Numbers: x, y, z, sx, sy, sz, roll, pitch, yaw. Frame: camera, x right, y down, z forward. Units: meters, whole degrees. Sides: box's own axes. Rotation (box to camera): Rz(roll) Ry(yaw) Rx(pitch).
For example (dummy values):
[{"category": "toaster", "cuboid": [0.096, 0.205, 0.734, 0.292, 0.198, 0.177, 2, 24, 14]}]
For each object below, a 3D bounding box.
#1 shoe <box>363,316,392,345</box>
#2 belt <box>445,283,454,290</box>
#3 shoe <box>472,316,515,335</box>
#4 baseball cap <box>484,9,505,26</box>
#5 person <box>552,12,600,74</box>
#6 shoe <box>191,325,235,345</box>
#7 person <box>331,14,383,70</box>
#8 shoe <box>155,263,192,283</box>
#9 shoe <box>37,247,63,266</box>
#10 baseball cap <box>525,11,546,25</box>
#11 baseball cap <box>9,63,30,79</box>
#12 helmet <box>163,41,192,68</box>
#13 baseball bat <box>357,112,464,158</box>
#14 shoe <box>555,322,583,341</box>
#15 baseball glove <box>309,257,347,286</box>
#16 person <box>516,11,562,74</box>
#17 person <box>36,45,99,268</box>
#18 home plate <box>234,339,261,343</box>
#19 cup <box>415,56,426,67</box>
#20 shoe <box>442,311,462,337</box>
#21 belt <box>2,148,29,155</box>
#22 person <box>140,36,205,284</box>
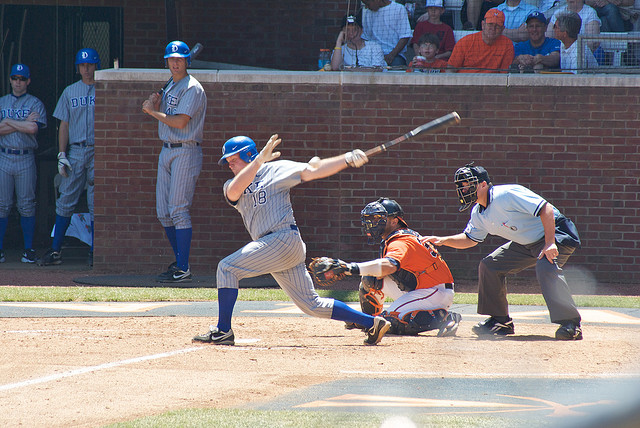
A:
[{"category": "shoe", "cuboid": [0.700, 1.474, 18.218, 0.196, 0.385, 0.146, 44, 35, 20]}, {"category": "belt", "cuboid": [1.663, 0.925, 18.629, 0.077, 0.049, 0.076, -6, 10, -43]}, {"category": "shoe", "cuboid": [2.233, 1.451, 18.802, 0.538, 0.199, 0.209, 2, -1, 1]}, {"category": "baseball cap", "cuboid": [2.686, -3.099, 22.435, 0.278, 0.254, 0.271, 2, 8, 5]}, {"category": "person", "cuboid": [3.960, -2.713, 22.492, 0.669, 0.945, 0.690, 1, 8, 2]}, {"category": "shoe", "cuboid": [-1.252, 1.534, 18.274, 0.599, 0.227, 0.192, 3, -8, 5]}, {"category": "person", "cuboid": [0.542, -2.702, 23.137, 0.956, 0.980, 0.681, 3, -7, -25]}, {"category": "shoe", "cuboid": [-2.086, 0.864, 21.420, 0.518, 0.249, 0.238, 0, 8, -4]}, {"category": "shoe", "cuboid": [-4.081, 0.630, 22.646, 0.176, 0.279, 0.494, 6, 9, 32]}, {"category": "baseball cap", "cuboid": [3.365, -3.148, 22.781, 0.298, 0.200, 0.307, 2, 7, 7]}, {"category": "baseball cap", "cuboid": [-4.562, -2.307, 22.701, 0.247, 0.306, 0.330, 6, 17, -4]}, {"category": "helmet", "cuboid": [-2.035, -2.390, 21.179, 0.395, 0.342, 0.467, -3, 14, -7]}, {"category": "baseball bat", "cuboid": [1.404, -1.210, 21.475, 1.796, 0.186, 0.185, -22, -26, -8]}, {"category": "shoe", "cuboid": [3.142, 1.507, 18.611, 0.366, 0.208, 0.186, 6, -5, -7]}, {"category": "baseball glove", "cuboid": [0.120, 0.697, 17.966, 0.451, 0.291, 0.180, -7, 46, -12]}, {"category": "person", "cuboid": [3.353, -2.720, 22.765, 0.806, 0.956, 1.080, 0, 12, 12]}, {"category": "person", "cuboid": [-3.830, -0.947, 22.864, 0.848, 3.392, 1.498, 0, 8, -10]}, {"category": "home plate", "cuboid": [-0.882, 1.600, 18.370, 0.286, 0.017, 0.187, 1, 7, 0]}, {"category": "cup", "cuboid": [1.564, -2.420, 22.579, 0.127, 0.155, 0.284, 2, 7, 12]}, {"category": "shoe", "cuboid": [1.720, 1.419, 18.649, 0.148, 0.353, 0.172, 8, -11, 35]}, {"category": "belt", "cuboid": [-4.650, -1.010, 22.688, 0.388, 0.079, 0.048, 0, 8, -5]}, {"category": "person", "cuboid": [-2.040, -0.781, 21.263, 0.801, 3.564, 0.446, 0, 8, -5]}]
